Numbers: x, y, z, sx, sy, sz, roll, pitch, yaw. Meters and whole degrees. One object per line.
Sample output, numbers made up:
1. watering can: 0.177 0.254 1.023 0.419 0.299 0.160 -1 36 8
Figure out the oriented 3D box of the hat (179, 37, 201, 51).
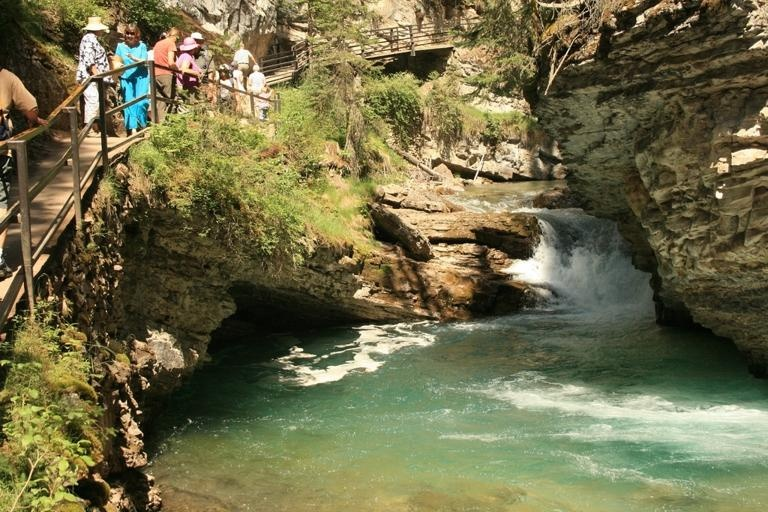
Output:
1. hat: -4.228 -4.678 14.555 0.408 0.181 0.379 8 29 13
